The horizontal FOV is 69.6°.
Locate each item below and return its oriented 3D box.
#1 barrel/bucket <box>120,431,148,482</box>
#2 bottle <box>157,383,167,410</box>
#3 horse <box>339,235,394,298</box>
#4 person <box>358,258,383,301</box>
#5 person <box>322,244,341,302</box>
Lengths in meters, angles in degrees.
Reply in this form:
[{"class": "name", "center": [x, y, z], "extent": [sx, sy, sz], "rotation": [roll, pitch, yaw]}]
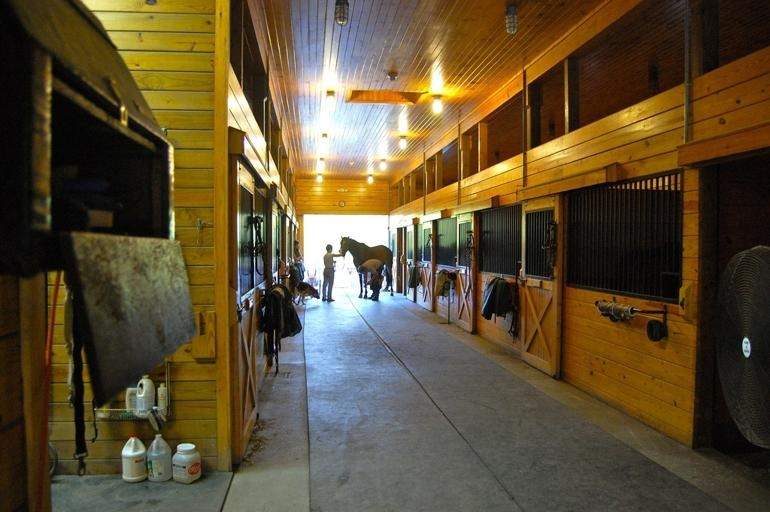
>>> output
[{"class": "barrel/bucket", "center": [-1.925, 1.526, 4.202], "extent": [0.217, 0.334, 0.148], "rotation": [-1, 5, -7]}, {"class": "bottle", "center": [-1.717, 1.080, 4.262], "extent": [0.069, 0.199, 0.061], "rotation": [-4, 7, -37]}, {"class": "horse", "center": [-0.496, 0.270, 15.755], "extent": [0.523, 1.517, 1.765], "rotation": [2, 2, 31]}, {"class": "person", "center": [-0.402, 0.584, 14.715], "extent": [0.607, 1.141, 1.803], "rotation": [0, 6, -3]}, {"class": "person", "center": [-1.344, 0.377, 13.585], "extent": [0.407, 1.449, 1.372], "rotation": [-1, 6, -6]}]
